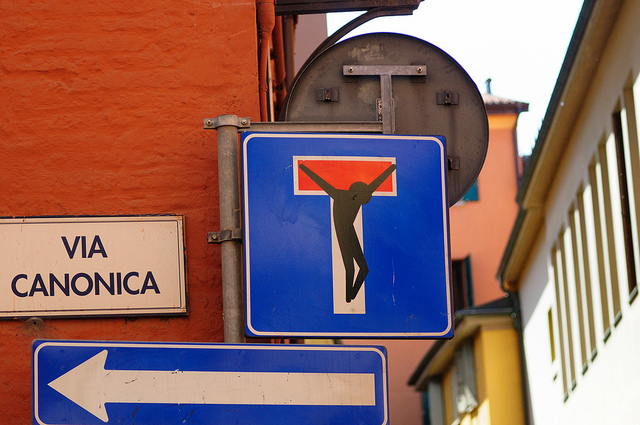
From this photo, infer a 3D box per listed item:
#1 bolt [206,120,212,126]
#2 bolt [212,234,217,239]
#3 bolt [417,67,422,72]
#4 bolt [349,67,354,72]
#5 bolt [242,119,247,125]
[{"bbox_3d":[-0.904,-0.711,10.752,0.046,0.045,0.011,-1,8,-2],"label":"bolt"},{"bbox_3d":[-0.856,0.203,10.640,0.031,0.033,0.008,3,-4,-7],"label":"bolt"},{"bbox_3d":[0.813,-1.172,11.066,0.041,0.043,0.010,-4,1,-4],"label":"bolt"},{"bbox_3d":[0.245,-1.171,11.043,0.040,0.043,0.012,0,-2,-1],"label":"bolt"},{"bbox_3d":[-0.610,-0.710,10.628,0.035,0.039,0.016,-1,8,-4],"label":"bolt"}]
